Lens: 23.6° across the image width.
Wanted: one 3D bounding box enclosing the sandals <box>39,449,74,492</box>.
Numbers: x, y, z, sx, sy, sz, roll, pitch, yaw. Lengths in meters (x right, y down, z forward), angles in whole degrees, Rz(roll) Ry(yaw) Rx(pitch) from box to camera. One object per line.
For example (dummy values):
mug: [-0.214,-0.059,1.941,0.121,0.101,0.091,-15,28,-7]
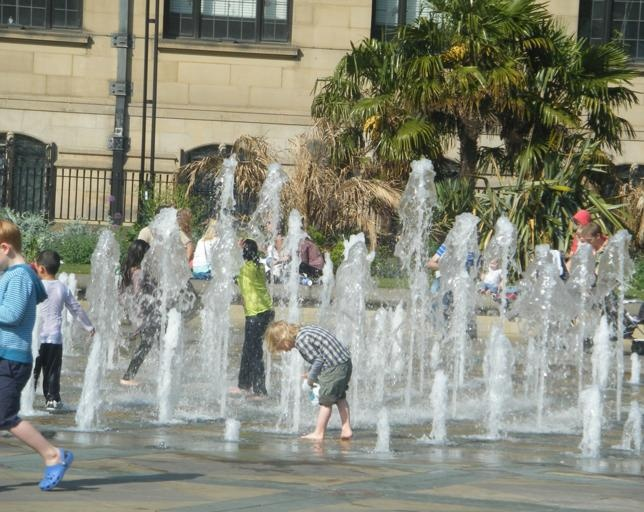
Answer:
sandals: [-2.980,2.412,17.463,0.227,0.607,0.224,29,-19,-24]
